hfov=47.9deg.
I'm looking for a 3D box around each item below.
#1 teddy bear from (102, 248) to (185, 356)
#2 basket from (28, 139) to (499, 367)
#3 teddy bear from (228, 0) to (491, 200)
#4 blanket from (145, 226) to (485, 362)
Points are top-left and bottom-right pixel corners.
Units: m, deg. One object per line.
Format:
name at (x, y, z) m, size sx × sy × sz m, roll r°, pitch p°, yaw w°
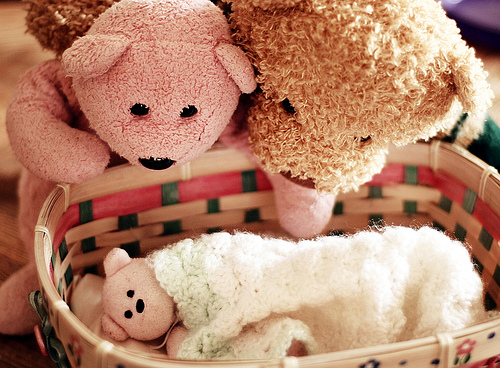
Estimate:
teddy bear at (-0.153, 0.171, 0.814) m, size 0.098 × 0.085 × 0.118 m, roll -39°, pitch 101°, yaw 0°
basket at (0.043, 0.143, 0.990) m, size 0.628 × 0.231 × 0.389 m, roll -1°, pitch 50°, yaw 0°
teddy bear at (0.153, -0.140, 0.832) m, size 0.354 × 0.271 × 0.198 m, roll -2°, pitch 60°, yaw -3°
blanket at (0.095, 0.149, 0.781) m, size 0.378 × 0.128 × 0.214 m, roll -5°, pitch 34°, yaw -1°
